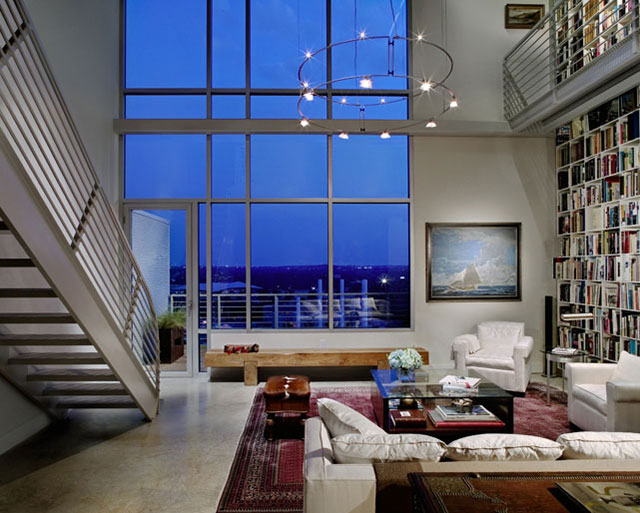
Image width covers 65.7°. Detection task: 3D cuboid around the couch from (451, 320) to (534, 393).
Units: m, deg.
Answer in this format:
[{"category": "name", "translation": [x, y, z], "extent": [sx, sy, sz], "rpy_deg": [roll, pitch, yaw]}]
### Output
[{"category": "couch", "translation": [2.391, 1.366, 6.714], "extent": [1.199, 0.923, 1.169], "rpy_deg": [2, -5, -3]}]

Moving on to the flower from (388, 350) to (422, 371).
[{"category": "flower", "translation": [0.938, 1.145, 5.590], "extent": [0.242, 0.206, 0.291], "rpy_deg": [-1, 3, -1]}]
